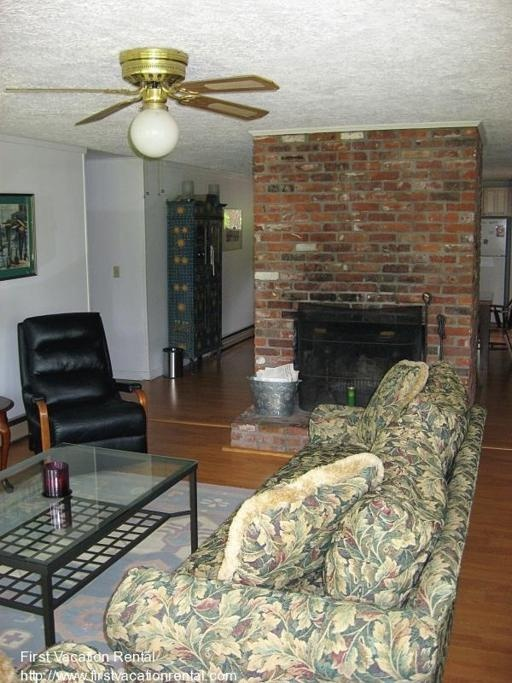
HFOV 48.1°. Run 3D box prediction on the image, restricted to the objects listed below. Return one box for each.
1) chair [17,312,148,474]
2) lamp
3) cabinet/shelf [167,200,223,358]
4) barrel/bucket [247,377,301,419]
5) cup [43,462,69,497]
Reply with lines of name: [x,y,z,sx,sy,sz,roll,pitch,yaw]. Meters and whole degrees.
chair: [-1.415,0.297,4.042,0.880,1.080,1.182,-6,8,-34]
lamp: [-0.305,-0.652,1.689,0.136,0.208,0.197,-4,9,-11]
cabinet/shelf: [-0.707,-0.788,7.058,0.384,2.006,0.892,4,11,37]
barrel/bucket: [0.152,0.426,4.408,0.347,0.209,0.353,0,-1,0]
cup: [-0.846,0.591,2.506,0.152,0.124,0.139,5,5,0]
